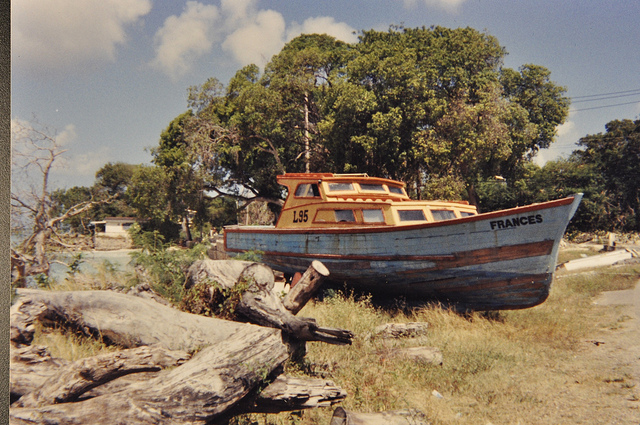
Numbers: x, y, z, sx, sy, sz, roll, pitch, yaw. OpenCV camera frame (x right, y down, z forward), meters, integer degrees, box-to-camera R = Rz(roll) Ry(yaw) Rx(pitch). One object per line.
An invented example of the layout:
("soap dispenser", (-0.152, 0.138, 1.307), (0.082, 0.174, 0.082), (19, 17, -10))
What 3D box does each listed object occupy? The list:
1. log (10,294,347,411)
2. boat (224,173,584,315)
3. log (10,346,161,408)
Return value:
("log", (-4.155, 3.851, 14.674), (9.375, 2.284, 1.227), (5, 42, 0))
("boat", (1.505, 1.236, 22.428), (16.638, 5.841, 5.517), (-4, -3, 37))
("log", (-6.122, 4.301, 14.040), (2.618, 0.709, 0.646), (-16, -27, -11))
